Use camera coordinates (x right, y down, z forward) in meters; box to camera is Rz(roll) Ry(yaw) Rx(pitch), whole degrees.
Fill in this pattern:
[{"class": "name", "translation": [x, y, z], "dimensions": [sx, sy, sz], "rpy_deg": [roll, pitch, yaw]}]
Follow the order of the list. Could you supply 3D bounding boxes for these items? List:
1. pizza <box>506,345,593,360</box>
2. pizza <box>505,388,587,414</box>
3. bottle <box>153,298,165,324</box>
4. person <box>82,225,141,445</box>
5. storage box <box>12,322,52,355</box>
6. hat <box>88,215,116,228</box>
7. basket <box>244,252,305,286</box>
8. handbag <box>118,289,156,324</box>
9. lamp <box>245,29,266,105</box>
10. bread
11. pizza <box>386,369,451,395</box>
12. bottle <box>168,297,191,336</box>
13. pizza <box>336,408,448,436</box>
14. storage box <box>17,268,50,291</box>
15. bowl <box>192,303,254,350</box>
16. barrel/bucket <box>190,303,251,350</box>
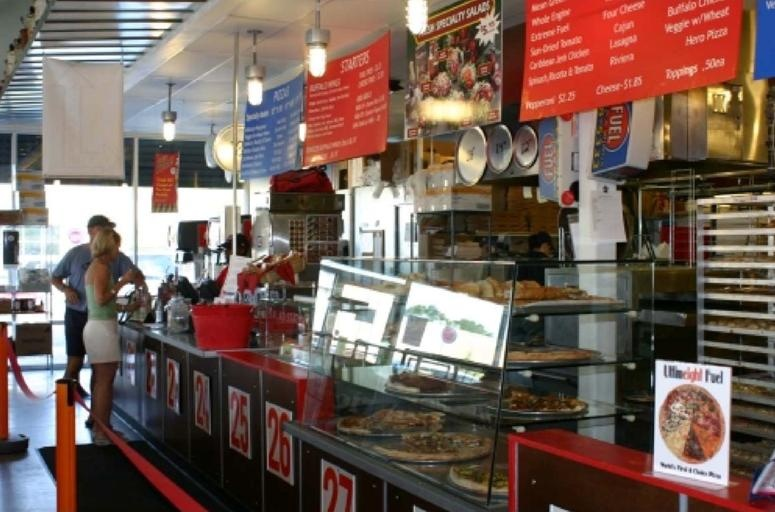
[{"class": "pizza", "translation": [0.839, 0.505, 3.666], "dimensions": [0.523, 0.091, 0.113], "rpy_deg": [0, 0, -35]}, {"class": "pizza", "translation": [0.807, 0.770, 3.716], "dimensions": [0.328, 0.060, 0.209], "rpy_deg": [3, 7, -8]}, {"class": "bottle", "translation": [-2.400, 0.575, 7.472], "dimensions": [0.082, 0.258, 0.262], "rpy_deg": [0, 0, -37]}, {"class": "person", "translation": [-2.619, 0.786, 6.759], "dimensions": [0.498, 2.083, 1.330], "rpy_deg": [0, 0, -19]}, {"class": "storage box", "translation": [-5.158, 1.224, 10.352], "dimensions": [0.488, 0.448, 0.478], "rpy_deg": [0, -2, -18]}, {"class": "hat", "translation": [-3.040, -0.369, 7.568], "dimensions": [0.279, 0.132, 0.193], "rpy_deg": [-6, 4, -18]}, {"class": "basket", "translation": [-0.922, 0.109, 6.010], "dimensions": [0.348, 0.173, 0.342], "rpy_deg": [-6, 3, 7]}, {"class": "handbag", "translation": [-2.706, 0.554, 7.723], "dimensions": [0.459, 0.477, 0.427], "rpy_deg": [4, -3, -11]}, {"class": "lamp", "translation": [-1.370, -1.886, 7.350], "dimensions": [0.163, 0.730, 0.693], "rpy_deg": [0, 0, -10]}, {"class": "bread", "translation": [0.603, 0.170, 3.734], "dimensions": [1.078, 0.154, 0.466], "rpy_deg": [0, 0, 17]}, {"class": "pizza", "translation": [0.163, 0.673, 3.878], "dimensions": [0.233, 0.054, 0.126], "rpy_deg": [4, 4, 45]}, {"class": "bottle", "translation": [-1.992, 0.559, 6.778], "dimensions": [0.189, 0.336, 0.474], "rpy_deg": [0, 0, -18]}, {"class": "pizza", "translation": [0.025, 0.935, 4.008], "dimensions": [0.460, 0.060, 0.248], "rpy_deg": [0, 1, 25]}, {"class": "storage box", "translation": [-5.208, 0.352, 10.440], "dimensions": [0.365, 0.246, 0.361], "rpy_deg": [1, -1, -25]}, {"class": "bowl", "translation": [-1.334, 0.575, 5.748], "dimensions": [0.438, 0.272, 0.360], "rpy_deg": [2, -6, -23]}, {"class": "barrel/bucket", "translation": [-1.355, 0.571, 5.778], "dimensions": [0.435, 0.272, 0.360], "rpy_deg": [2, -6, -26]}]
